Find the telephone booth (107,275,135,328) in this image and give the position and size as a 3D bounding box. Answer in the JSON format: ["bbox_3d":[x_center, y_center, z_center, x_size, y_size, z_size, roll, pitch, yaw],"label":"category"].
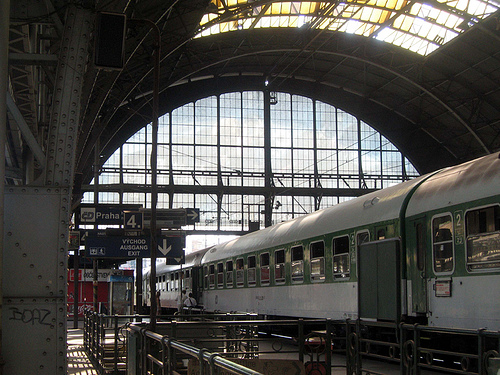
[{"bbox_3d":[-6.818,5.876,30.144,1.646,2.797,1.775,-3,-9,27],"label":"telephone booth"}]

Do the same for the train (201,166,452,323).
[{"bbox_3d":[1.567,3.260,21.286,2.424,3.900,16.197,8,-14,-23],"label":"train"}]
